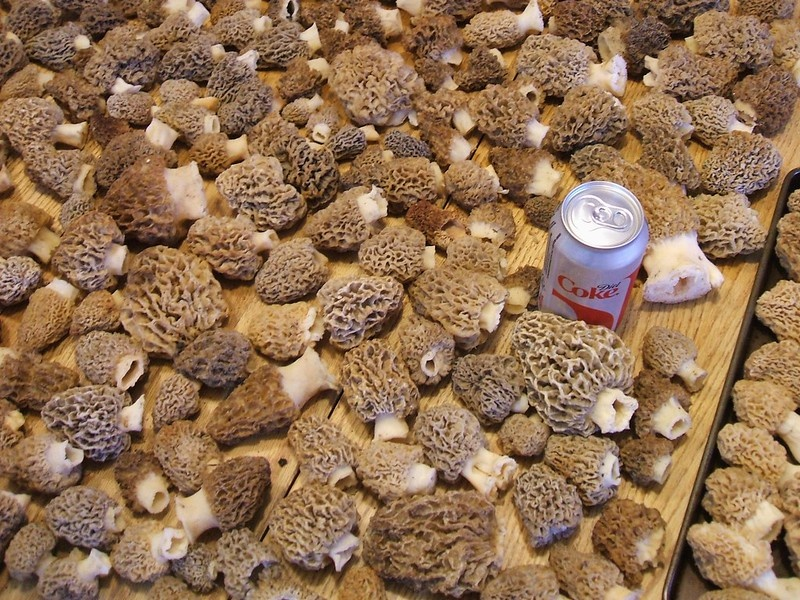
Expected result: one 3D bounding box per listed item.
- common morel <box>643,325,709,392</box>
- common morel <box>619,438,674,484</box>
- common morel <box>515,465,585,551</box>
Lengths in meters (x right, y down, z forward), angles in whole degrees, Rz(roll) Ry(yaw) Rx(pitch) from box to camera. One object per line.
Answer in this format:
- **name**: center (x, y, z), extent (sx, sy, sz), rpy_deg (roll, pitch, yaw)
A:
- **common morel**: center (1.476, 0.344, 3.877), extent (0.256, 0.159, 0.377), rpy_deg (-31, 43, 5)
- **common morel**: center (1.261, 0.815, 3.705), extent (0.272, 0.163, 0.253), rpy_deg (-8, 14, 37)
- **common morel**: center (0.738, 1.004, 3.648), extent (0.294, 0.253, 0.415), rpy_deg (-17, 64, 1)
